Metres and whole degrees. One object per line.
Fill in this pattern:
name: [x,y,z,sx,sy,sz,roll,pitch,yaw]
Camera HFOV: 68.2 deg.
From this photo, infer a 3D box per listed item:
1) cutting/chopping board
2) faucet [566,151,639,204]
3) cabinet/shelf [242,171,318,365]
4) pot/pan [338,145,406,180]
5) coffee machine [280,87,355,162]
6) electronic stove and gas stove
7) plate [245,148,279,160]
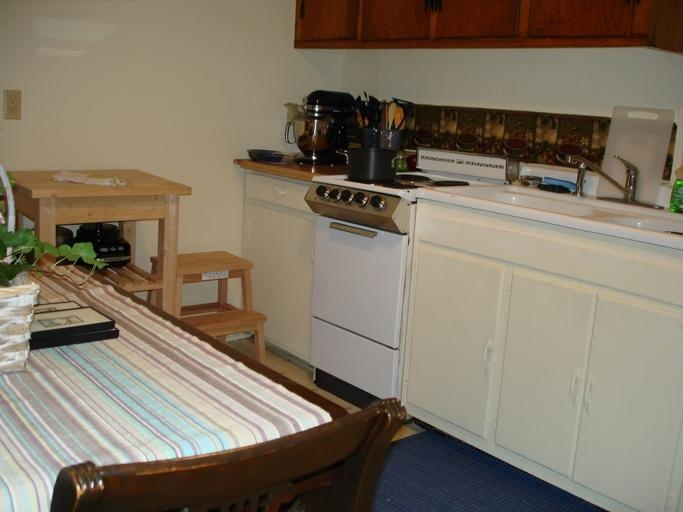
cutting/chopping board: [1.389,-0.481,2.406,0.060,0.486,0.261,6,5,-38]
faucet: [1.281,-0.389,2.462,0.249,0.266,0.303,-11,21,-40]
cabinet/shelf: [-0.254,0.034,3.303,0.458,1.096,0.608,-10,19,-35]
pot/pan: [0.138,-0.487,2.707,0.184,0.191,0.213,11,12,40]
coffee machine: [-0.127,-0.888,3.511,0.393,0.505,0.474,-11,22,-40]
electronic stove and gas stove: [0.238,-0.401,2.945,0.956,0.296,0.825,-8,17,-30]
plate: [-0.500,-0.650,3.287,0.223,0.082,0.118,11,5,41]
